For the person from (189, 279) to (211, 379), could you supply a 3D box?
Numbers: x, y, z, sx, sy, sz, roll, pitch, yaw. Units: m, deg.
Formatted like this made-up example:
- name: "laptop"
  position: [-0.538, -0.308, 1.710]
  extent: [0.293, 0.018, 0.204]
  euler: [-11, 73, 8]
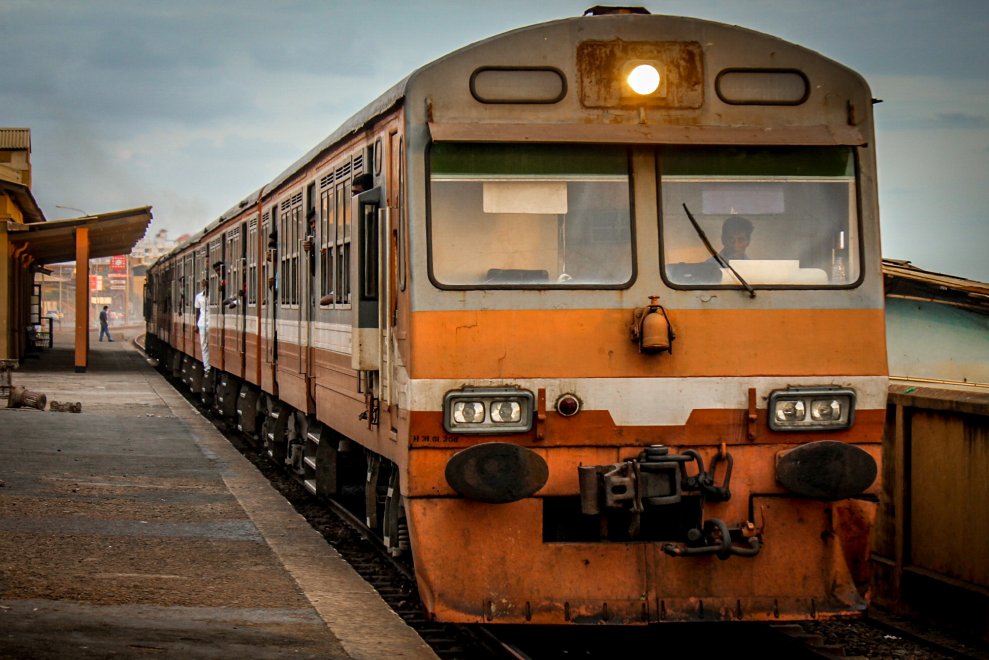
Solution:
- name: "person"
  position: [-6.026, 0.066, 19.349]
  extent: [0.518, 1.781, 0.190]
  euler: [11, 16, 33]
